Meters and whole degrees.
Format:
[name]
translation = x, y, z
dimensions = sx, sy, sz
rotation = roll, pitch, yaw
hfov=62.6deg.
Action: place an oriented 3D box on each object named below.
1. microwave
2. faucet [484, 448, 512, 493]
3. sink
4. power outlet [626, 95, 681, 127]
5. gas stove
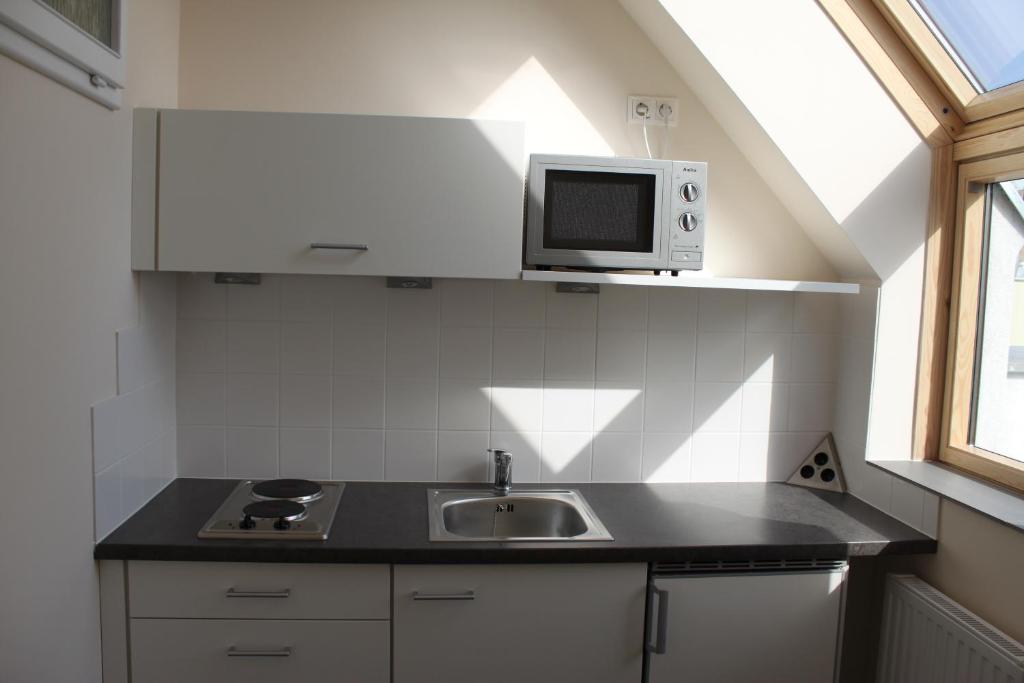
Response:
[microwave]
translation = 0.404, -0.488, 3.186
dimensions = 0.684, 0.460, 0.420
rotation = 2, -2, -3
[faucet]
translation = -0.048, 0.522, 3.466
dimensions = 0.104, 0.161, 0.139
rotation = 1, 2, -2
[sink]
translation = 0.016, 0.698, 3.245
dimensions = 0.673, 0.177, 0.466
rotation = 1, 2, -6
[power outlet]
translation = 0.583, -0.949, 3.485
dimensions = 0.216, 0.119, 0.018
rotation = 1, 2, -5
[gas stove]
translation = -0.887, 0.636, 3.209
dimensions = 0.458, 0.114, 0.458
rotation = 2, 2, -2
